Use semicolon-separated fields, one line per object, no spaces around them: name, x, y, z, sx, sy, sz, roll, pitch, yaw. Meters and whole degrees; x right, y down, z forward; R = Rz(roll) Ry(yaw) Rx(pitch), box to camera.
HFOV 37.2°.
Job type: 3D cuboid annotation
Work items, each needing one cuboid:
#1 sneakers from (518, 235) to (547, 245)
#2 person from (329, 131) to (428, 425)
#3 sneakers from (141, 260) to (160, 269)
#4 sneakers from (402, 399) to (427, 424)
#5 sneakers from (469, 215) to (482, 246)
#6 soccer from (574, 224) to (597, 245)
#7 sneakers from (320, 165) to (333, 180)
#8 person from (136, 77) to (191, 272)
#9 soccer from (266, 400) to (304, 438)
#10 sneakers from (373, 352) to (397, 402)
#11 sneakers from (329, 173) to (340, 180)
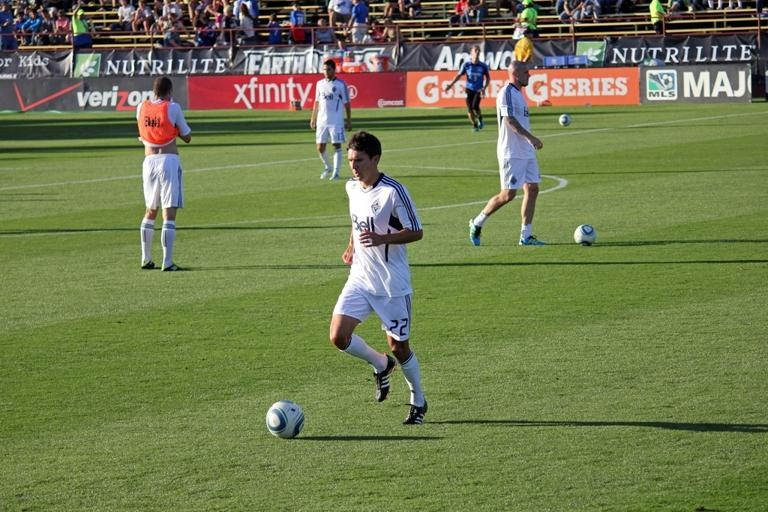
sneakers;2.365;-0.257;18.170;0.439;0.191;0.150;0;4;-3
person;-0.054;0.189;12.537;1.033;3.118;1.127;-1;13;4
sneakers;-3.590;0.135;17.509;0.090;0.115;0.256;10;12;38
sneakers;0.368;1.701;12.395;0.130;0.169;0.366;-7;20;31
sneakers;1.471;-0.394;18.296;0.211;0.461;0.161;7;26;27
soccer;3.215;-0.344;18.199;0.333;0.307;0.314;0;13;8
sneakers;-1.300;-1.869;25.414;0.138;0.181;0.420;3;16;19
person;-3.339;-1.239;17.200;0.842;2.899;0.555;-1;12;1
soccer;-1.050;1.744;12.139;0.387;0.403;0.201;-4;13;-9
sneakers;0.011;1.373;12.685;0.273;0.580;0.188;8;2;-41
sneakers;-1.087;-1.763;25.182;0.200;0.197;0.104;4;5;11
